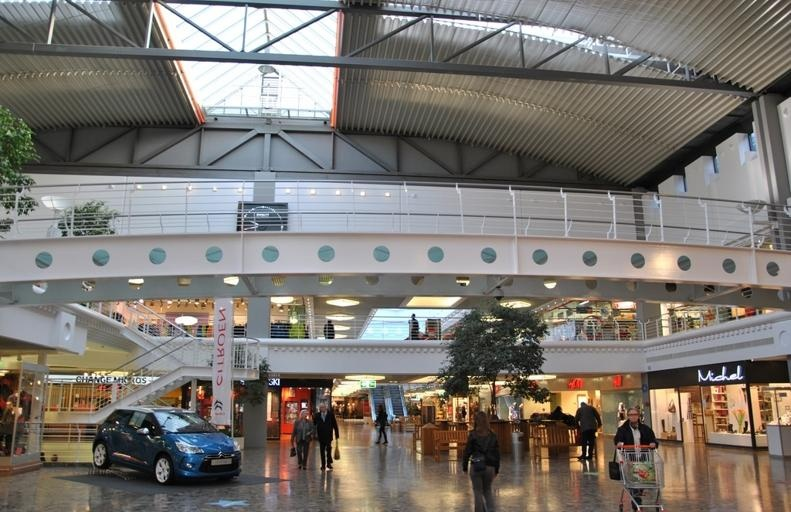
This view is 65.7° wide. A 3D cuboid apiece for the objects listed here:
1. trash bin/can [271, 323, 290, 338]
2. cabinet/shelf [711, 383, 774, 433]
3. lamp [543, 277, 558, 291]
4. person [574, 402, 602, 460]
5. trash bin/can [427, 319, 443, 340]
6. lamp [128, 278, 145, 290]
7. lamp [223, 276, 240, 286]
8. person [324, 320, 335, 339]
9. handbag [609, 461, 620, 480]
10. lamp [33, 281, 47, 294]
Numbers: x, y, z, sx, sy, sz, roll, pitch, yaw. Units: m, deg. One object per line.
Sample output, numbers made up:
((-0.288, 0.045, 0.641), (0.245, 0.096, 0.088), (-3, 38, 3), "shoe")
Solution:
((-5.834, 3.897, 31.422), (1.386, 0.776, 0.714), (2, -23, -6), "trash bin/can")
((14.644, 6.373, 25.766), (0.960, 2.158, 2.615), (4, -16, -2), "cabinet/shelf")
((4.717, 0.885, 18.714), (0.423, 0.311, 0.092), (8, 3, -14), "lamp")
((7.232, 6.567, 23.046), (0.870, 2.038, 1.460), (-6, -17, 14), "person")
((1.915, 3.704, 30.739), (1.133, 1.220, 0.733), (-1, -12, 1), "trash bin/can")
((-7.554, 0.831, 17.876), (0.582, 0.323, 0.386), (3, -11, -20), "lamp")
((-4.850, 0.746, 18.070), (0.438, 0.253, 0.916), (1, -15, -10), "lamp")
((-3.365, 3.813, 31.306), (0.516, 0.903, 1.015), (0, -16, -6), "person")
((4.951, 4.847, 13.867), (0.228, 0.370, 0.395), (-7, -17, 16), "handbag")
((-10.382, 0.983, 17.970), (0.451, 0.340, 0.197), (-5, -17, 14), "lamp")
